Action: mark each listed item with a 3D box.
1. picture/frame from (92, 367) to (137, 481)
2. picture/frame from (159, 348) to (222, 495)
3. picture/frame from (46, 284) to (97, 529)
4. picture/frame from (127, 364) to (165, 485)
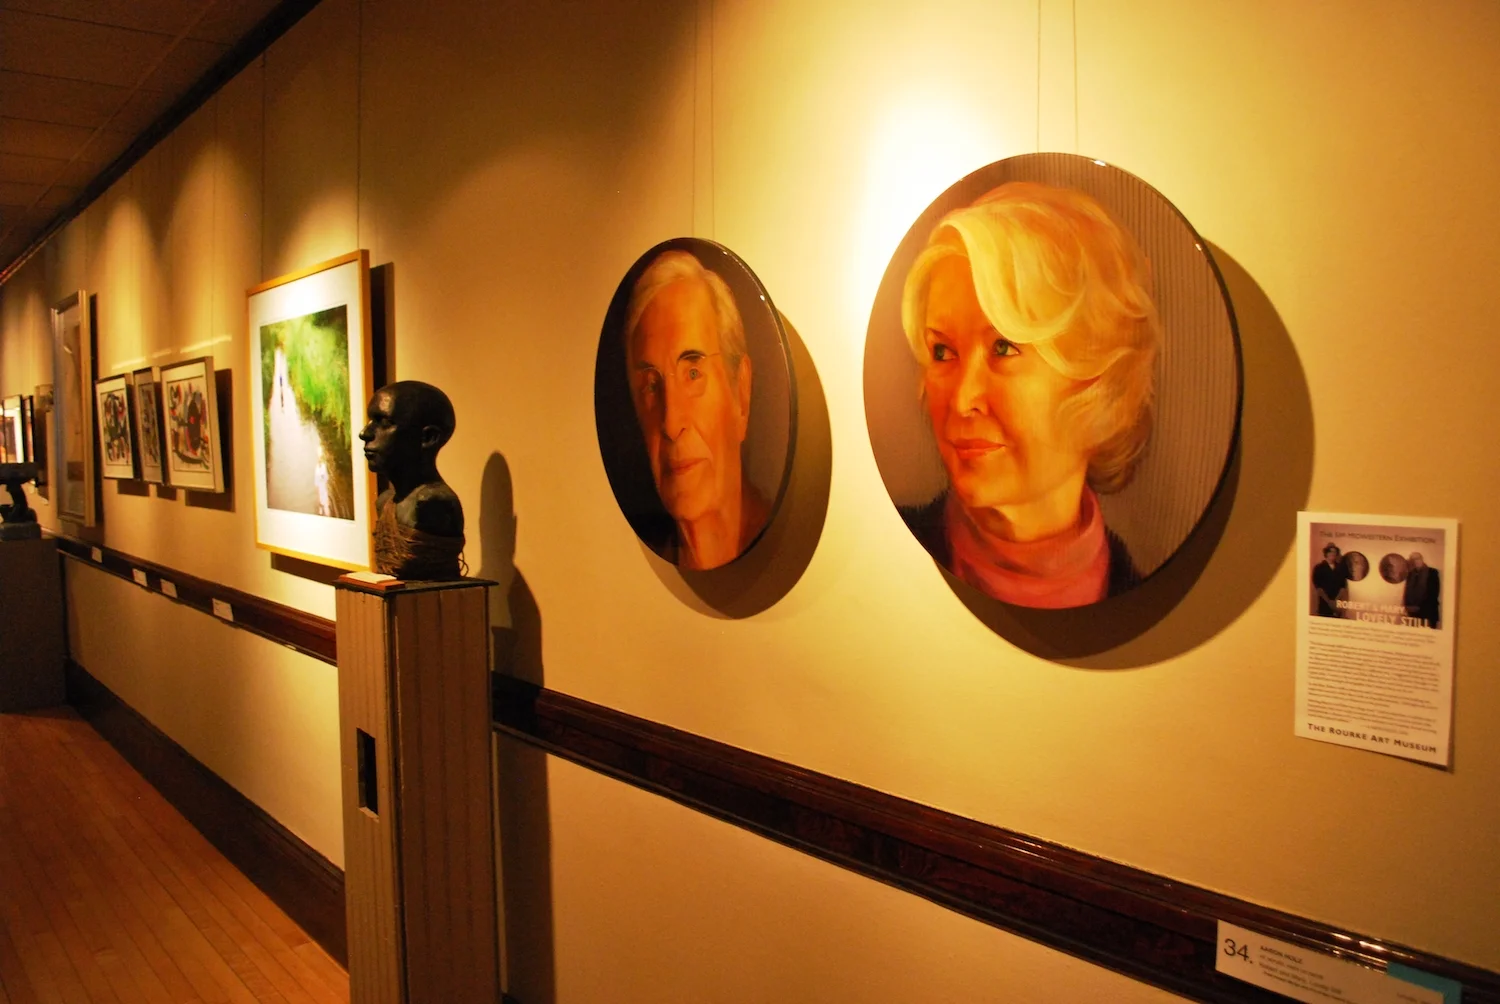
[{"bbox_3d":[-3.854,-0.489,7.442,0.079,0.837,0.651,-4,4,-36],"label":"picture/frame"},{"bbox_3d":[-2.855,-0.417,6.275,0.086,0.662,0.685,-8,2,-35],"label":"picture/frame"},{"bbox_3d":[-4.606,-0.703,8.330,0.120,2.032,1.574,-1,2,-35],"label":"picture/frame"},{"bbox_3d":[-3.378,-0.443,6.859,0.043,0.677,0.531,-5,15,-28],"label":"picture/frame"}]
